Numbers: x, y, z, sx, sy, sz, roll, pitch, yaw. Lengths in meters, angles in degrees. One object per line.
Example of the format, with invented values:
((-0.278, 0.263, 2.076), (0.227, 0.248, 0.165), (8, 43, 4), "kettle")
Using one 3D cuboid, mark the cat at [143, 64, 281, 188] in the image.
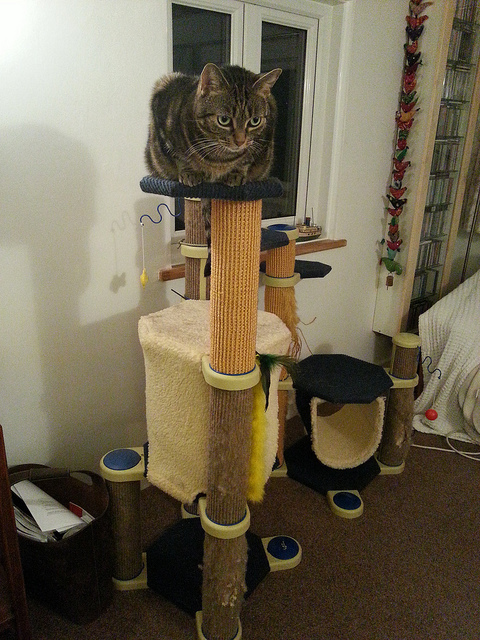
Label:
((-0.072, -0.380, 1.032), (0.333, 0.206, 0.222), (20, 26, 39), "cat")
